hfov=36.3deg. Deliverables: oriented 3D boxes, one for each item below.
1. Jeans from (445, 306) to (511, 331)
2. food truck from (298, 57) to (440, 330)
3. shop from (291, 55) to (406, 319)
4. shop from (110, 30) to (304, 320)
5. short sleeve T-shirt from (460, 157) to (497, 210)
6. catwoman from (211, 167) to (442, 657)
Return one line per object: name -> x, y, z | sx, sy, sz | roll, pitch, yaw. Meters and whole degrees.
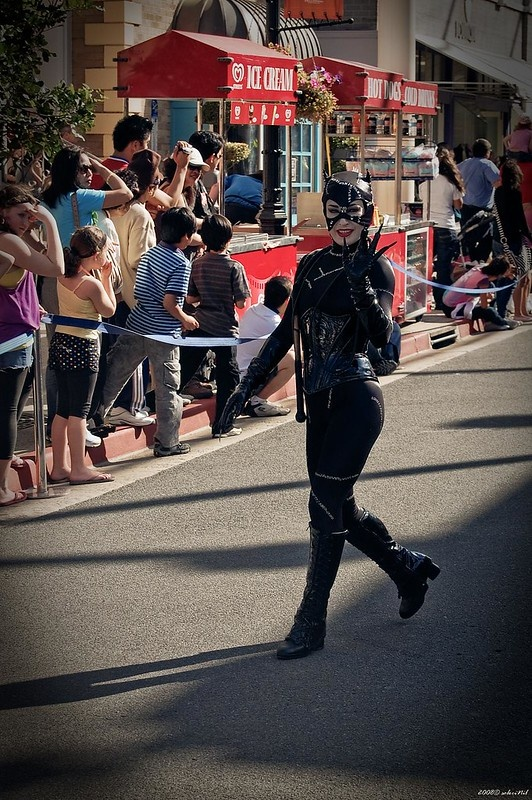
Jeans -> 3.535, -1.262, 13.283 | 0.990, 0.304, 0.425 | 11, 4, -2
food truck -> 1.647, -3.394, 14.314 | 2.049, 4.447, 2.962 | 8, 18, 29
shop -> 1.302, -3.361, 14.056 | 1.948, 4.507, 1.987 | 4, 16, 25
shop -> -0.706, -3.740, 9.801 | 1.890, 3.023, 1.582 | -4, 25, -23
short sleeve T-shirt -> 4.003, -4.054, 15.188 | 0.538, 0.866, 0.930 | -22, 28, -39
catwoman -> 0.390, 0.063, 3.302 | 0.963, 1.885, 0.837 | -1, 4, -37
